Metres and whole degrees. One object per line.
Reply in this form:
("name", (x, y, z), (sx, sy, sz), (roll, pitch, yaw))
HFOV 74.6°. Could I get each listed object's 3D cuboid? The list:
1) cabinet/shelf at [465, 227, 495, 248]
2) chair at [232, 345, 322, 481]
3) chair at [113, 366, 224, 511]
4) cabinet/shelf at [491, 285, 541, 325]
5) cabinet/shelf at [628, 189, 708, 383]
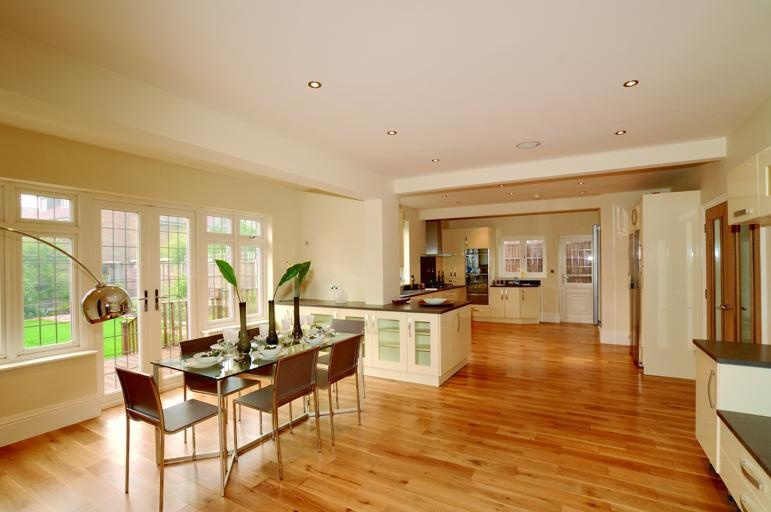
("cabinet/shelf", (2.113, -0.374, 11.423), (0.498, 0.460, 0.496), (-3, -5, 33))
("chair", (-1.123, 1.477, 5.098), (0.640, 1.085, 0.812), (4, 13, 22))
("chair", (-2.077, 1.575, 4.753), (0.749, 1.187, 0.757), (6, 14, 28))
("cabinet/shelf", (2.812, 1.077, 11.095), (1.201, 0.995, 0.733), (-3, -5, 35))
("cabinet/shelf", (3.828, 0.395, 6.804), (0.827, 2.489, 0.468), (3, 13, 18))
